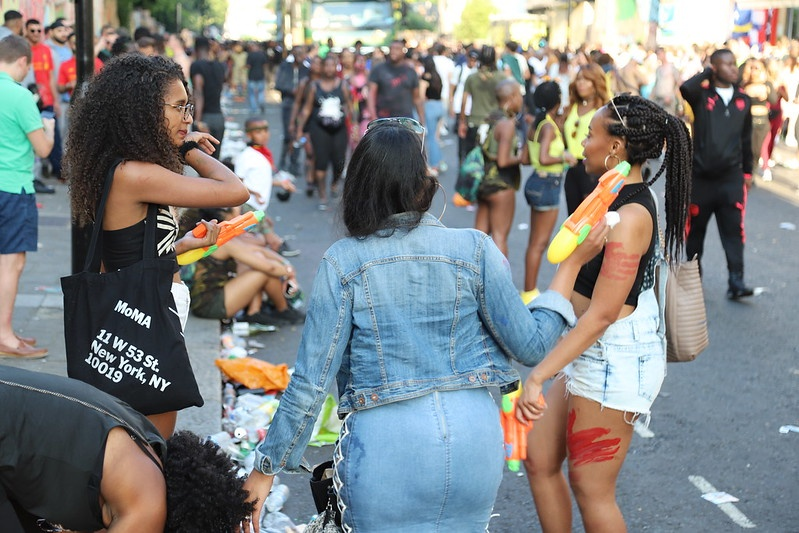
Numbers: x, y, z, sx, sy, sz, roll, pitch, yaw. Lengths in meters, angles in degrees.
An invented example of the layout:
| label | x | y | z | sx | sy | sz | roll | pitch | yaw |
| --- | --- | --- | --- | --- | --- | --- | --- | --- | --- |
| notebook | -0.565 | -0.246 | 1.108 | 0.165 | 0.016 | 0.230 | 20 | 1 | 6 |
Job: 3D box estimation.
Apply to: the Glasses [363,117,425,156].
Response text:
| label | x | y | z | sx | sy | sz | roll | pitch | yaw |
| --- | --- | --- | --- | --- | --- | --- | --- | --- | --- |
| Glasses | -0.026 | -0.582 | 4.117 | 0.234 | 0.239 | 0.068 | 3 | 21 | 5 |

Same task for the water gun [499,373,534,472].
| label | x | y | z | sx | sy | sz | roll | pitch | yaw |
| --- | --- | --- | --- | --- | --- | --- | --- | --- | --- |
| water gun | 0.567 | 0.770 | 4.384 | 0.109 | 0.487 | 0.139 | 0 | 7 | 14 |

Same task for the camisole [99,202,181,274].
| label | x | y | z | sx | sy | sz | roll | pitch | yaw |
| --- | --- | --- | --- | --- | --- | --- | --- | --- | --- |
| camisole | -1.386 | -0.121 | 4.941 | 0.372 | 0.382 | 0.376 | 5 | -8 | -43 |

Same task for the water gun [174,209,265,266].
| label | x | y | z | sx | sy | sz | roll | pitch | yaw |
| --- | --- | --- | --- | --- | --- | --- | --- | --- | --- |
| water gun | -1.353 | -0.199 | 6.789 | 0.699 | 0.379 | 0.120 | -24 | 44 | -7 |

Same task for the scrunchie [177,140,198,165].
| label | x | y | z | sx | sy | sz | roll | pitch | yaw |
| --- | --- | --- | --- | --- | --- | --- | --- | --- | --- |
| scrunchie | -1.224 | -0.653 | 5.257 | 0.118 | 0.135 | 0.049 | -1 | -6 | -7 |

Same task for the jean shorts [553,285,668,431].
| label | x | y | z | sx | sy | sz | roll | pitch | yaw |
| --- | --- | --- | --- | --- | --- | --- | --- | --- | --- |
| jean shorts | 1.194 | 0.488 | 5.104 | 0.555 | 0.837 | 0.880 | 12 | -7 | -7 |

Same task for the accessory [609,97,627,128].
| label | x | y | z | sx | sy | sz | roll | pitch | yaw |
| --- | --- | --- | --- | --- | --- | --- | --- | --- | --- |
| accessory | 1.122 | -0.783 | 4.660 | 0.049 | 0.171 | 0.009 | -22 | -29 | 23 |
